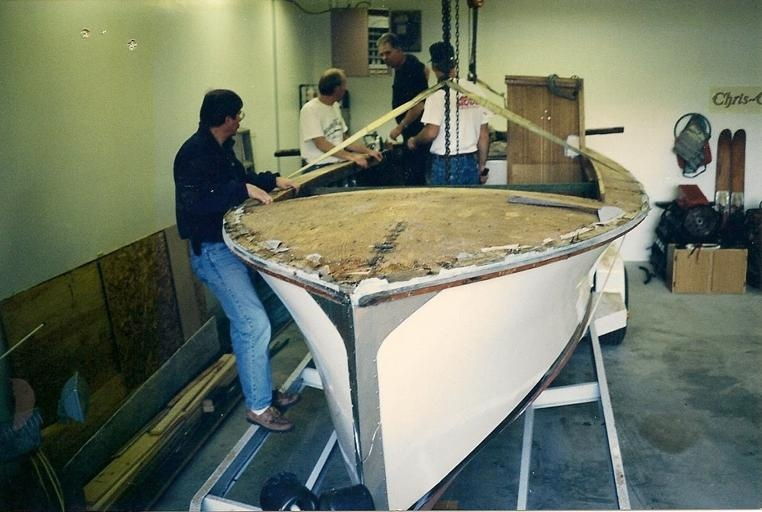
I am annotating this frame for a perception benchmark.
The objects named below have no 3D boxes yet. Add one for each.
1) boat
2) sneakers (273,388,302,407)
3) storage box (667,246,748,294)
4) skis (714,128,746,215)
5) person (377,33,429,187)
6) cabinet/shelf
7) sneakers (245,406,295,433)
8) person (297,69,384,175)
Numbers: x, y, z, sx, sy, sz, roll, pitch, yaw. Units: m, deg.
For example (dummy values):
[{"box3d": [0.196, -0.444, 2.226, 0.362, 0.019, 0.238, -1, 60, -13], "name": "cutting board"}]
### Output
[{"box3d": [0.239, 0.399, 2.727, 1.724, 1.299, 1.051, -8, 18, -28], "name": "boat"}, {"box3d": [-0.505, 0.758, 2.925, 0.164, 0.065, 0.060, -2, 26, -1], "name": "sneakers"}, {"box3d": [2.359, 0.098, 3.987, 0.469, 0.331, 0.265, 0, 12, 14], "name": "storage box"}, {"box3d": [2.297, -0.508, 3.592, 0.168, 0.766, 0.105, -9, 47, 26], "name": "skis"}, {"box3d": [0.170, -1.081, 3.975, 0.356, 1.123, 0.388, -8, 47, -3], "name": "person"}, {"box3d": [-0.149, -1.463, 3.826, 0.465, 0.462, 0.355, -3, 22, -5], "name": "cabinet/shelf"}, {"box3d": [-0.559, 0.831, 2.770, 0.221, 0.100, 0.109, 10, 15, 5], "name": "sneakers"}, {"box3d": [-0.323, -0.977, 3.970, 0.586, 0.708, 0.418, 20, 29, 39], "name": "person"}]
